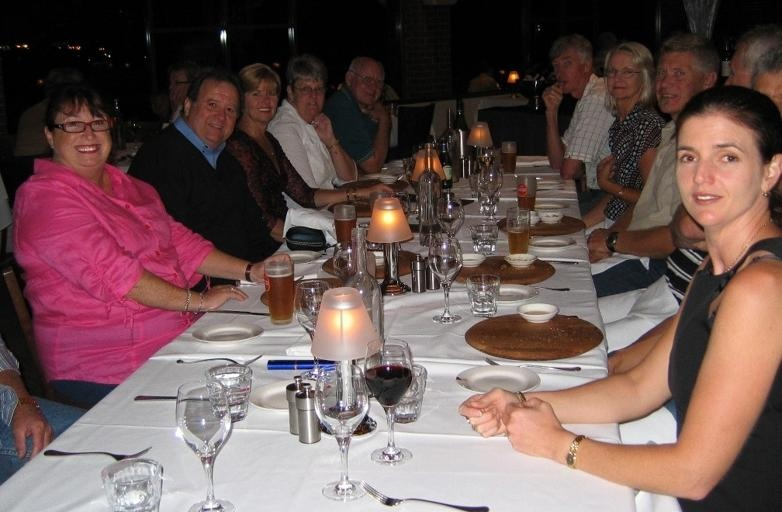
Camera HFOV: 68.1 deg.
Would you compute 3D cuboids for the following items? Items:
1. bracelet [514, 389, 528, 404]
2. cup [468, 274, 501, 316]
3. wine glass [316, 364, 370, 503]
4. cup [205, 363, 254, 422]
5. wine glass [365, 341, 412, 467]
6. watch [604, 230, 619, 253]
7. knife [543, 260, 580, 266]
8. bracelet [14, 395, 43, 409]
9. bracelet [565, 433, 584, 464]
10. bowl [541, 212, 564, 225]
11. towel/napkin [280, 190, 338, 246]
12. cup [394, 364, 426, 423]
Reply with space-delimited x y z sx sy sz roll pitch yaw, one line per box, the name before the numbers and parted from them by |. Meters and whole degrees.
bracelet | 0.365 0.396 1.616 0.034 0.031 0.021 -3 5 16
cup | 0.353 0.143 2.195 0.158 0.159 0.152 -1 2 0
wine glass | -0.112 0.405 1.388 0.118 0.274 0.211 -3 14 3
cup | -0.437 0.372 1.592 0.150 0.144 0.141 0 -2 0
wine glass | -0.001 0.361 1.488 0.119 0.275 0.201 -3 14 2
watch | 1.282 -0.088 3.354 0.114 0.110 0.075 10 -1 -25
knife | 0.797 0.029 2.700 0.170 0.013 0.017 2 4 7
bracelet | -1.294 0.514 2.068 0.059 0.029 0.055 5 2 9
bracelet | 0.446 0.470 1.416 0.019 0.055 0.062 14 11 26
bowl | 0.927 -0.229 3.351 0.092 0.042 0.086 2 11 0
towel/napkin | -0.431 -0.193 3.144 0.319 0.116 0.270 11 42 -14
cup | 0.063 0.381 1.647 0.126 0.059 0.147 -7 35 12
